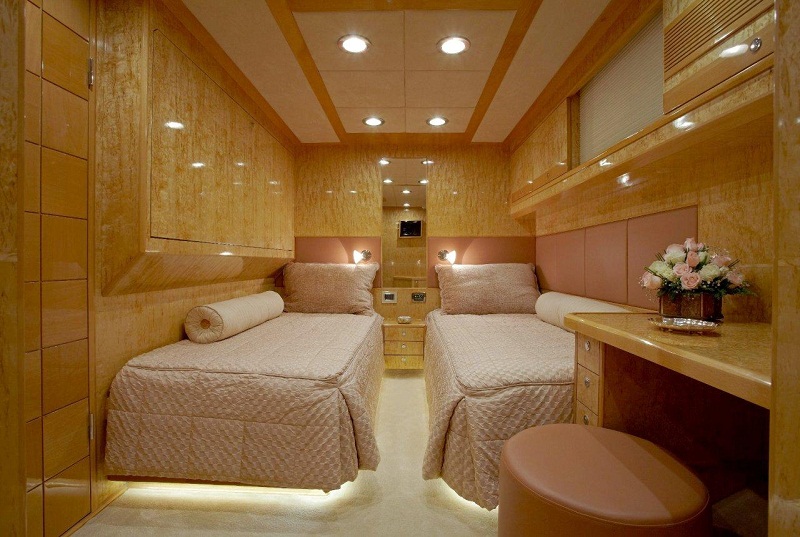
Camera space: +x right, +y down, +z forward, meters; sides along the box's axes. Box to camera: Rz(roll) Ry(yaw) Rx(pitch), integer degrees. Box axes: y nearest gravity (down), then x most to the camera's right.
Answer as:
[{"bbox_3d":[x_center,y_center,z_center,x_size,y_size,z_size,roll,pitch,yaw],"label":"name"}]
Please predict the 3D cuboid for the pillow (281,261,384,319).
[{"bbox_3d":[-0.654,0.168,5.022,0.877,0.492,0.300,2,14,-4],"label":"pillow"}]

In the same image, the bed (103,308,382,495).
[{"bbox_3d":[-0.874,0.876,3.516,1.584,0.800,0.997,1,1,5],"label":"bed"}]

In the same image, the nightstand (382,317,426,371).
[{"bbox_3d":[0.082,0.739,5.022,0.427,0.403,0.307,-2,-7,18],"label":"nightstand"}]

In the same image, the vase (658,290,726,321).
[{"bbox_3d":[1.453,0.215,2.679,0.219,0.132,0.155,-3,-7,45],"label":"vase"}]

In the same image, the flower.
[{"bbox_3d":[1.477,0.016,2.675,0.372,0.220,0.363,-7,6,13],"label":"flower"}]
